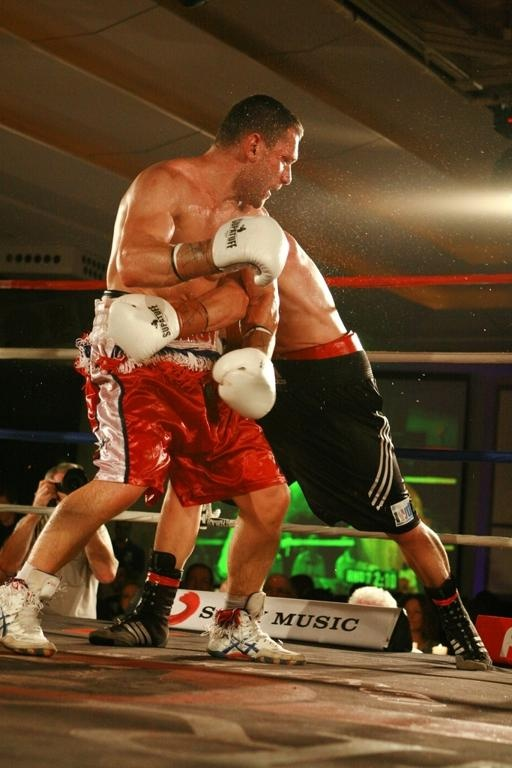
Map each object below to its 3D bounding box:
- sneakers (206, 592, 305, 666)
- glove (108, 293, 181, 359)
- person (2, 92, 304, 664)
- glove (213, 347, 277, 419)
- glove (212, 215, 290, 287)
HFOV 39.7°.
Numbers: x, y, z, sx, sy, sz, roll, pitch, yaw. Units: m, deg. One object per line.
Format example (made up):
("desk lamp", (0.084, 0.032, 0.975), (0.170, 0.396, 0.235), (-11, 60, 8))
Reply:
("sneakers", (0.009, 0.573, 1.638), (0.250, 0.150, 0.086), (-7, -27, 33))
("glove", (-0.220, -0.136, 1.438), (0.149, 0.079, 0.183), (-21, 24, -20))
("person", (-0.166, -0.027, 1.518), (0.635, 0.999, 0.405), (4, 2, -9))
("glove", (-0.031, 0.000, 1.556), (0.127, 0.155, 0.077), (-40, 15, -19))
("glove", (-0.008, -0.256, 1.398), (0.161, 0.104, 0.057), (-12, -27, -15))
